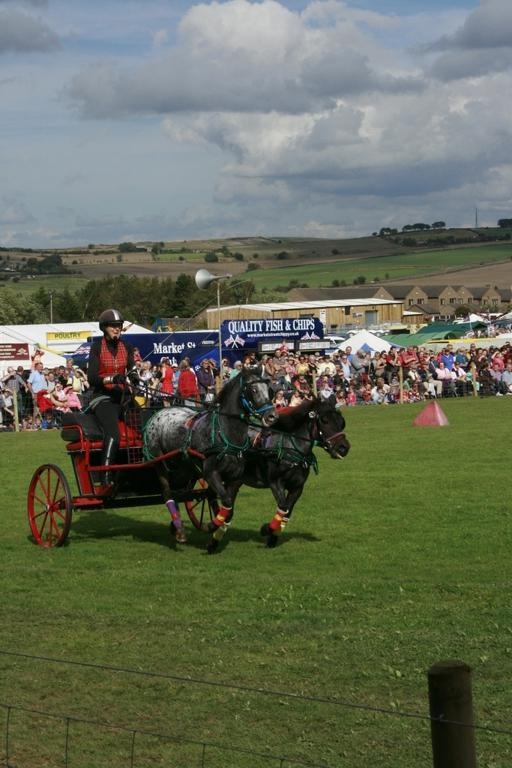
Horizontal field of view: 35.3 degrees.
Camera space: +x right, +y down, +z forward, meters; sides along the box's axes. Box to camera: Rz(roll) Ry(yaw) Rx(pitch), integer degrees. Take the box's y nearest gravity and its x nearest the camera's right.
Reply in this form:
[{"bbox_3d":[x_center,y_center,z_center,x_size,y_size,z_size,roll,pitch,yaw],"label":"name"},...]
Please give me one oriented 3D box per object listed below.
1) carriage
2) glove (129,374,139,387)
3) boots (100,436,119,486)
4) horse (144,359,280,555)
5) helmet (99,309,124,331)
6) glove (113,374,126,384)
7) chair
[{"bbox_3d":[-1.212,0.992,10.750,4.156,1.776,2.292,-5,-5,40],"label":"carriage"},{"bbox_3d":[-1.568,-0.056,10.334,0.122,0.160,0.232,-7,7,-13],"label":"glove"},{"bbox_3d":[-1.849,1.004,10.218,0.271,0.613,0.441,-7,7,-11],"label":"boots"},{"bbox_3d":[-0.706,0.982,10.402,0.986,1.985,3.002,9,-12,-31],"label":"horse"},{"bbox_3d":[-1.859,-0.808,10.274,0.287,0.258,0.505,-6,6,-11],"label":"helmet"},{"bbox_3d":[-1.746,-0.048,10.295,0.163,0.132,0.116,-5,7,3],"label":"glove"},{"bbox_3d":[-1.794,0.883,10.811,1.156,1.165,1.446,0,-6,-38],"label":"chair"}]
